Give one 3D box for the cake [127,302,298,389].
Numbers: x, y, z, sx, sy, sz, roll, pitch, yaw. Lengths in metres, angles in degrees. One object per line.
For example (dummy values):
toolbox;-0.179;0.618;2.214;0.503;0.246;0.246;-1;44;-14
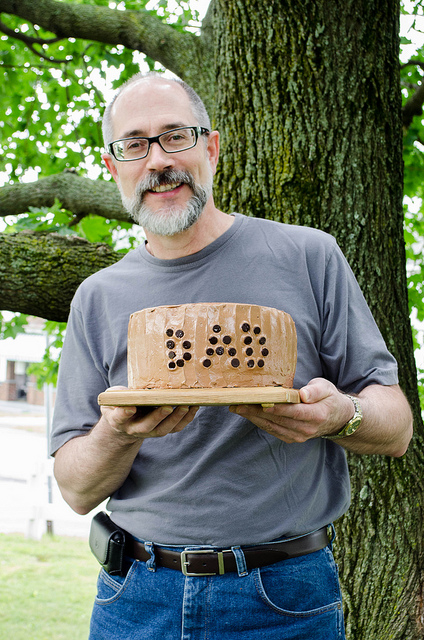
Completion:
cake;-0.014;0.100;3.109;0.625;0.326;0.333;3;5;3
